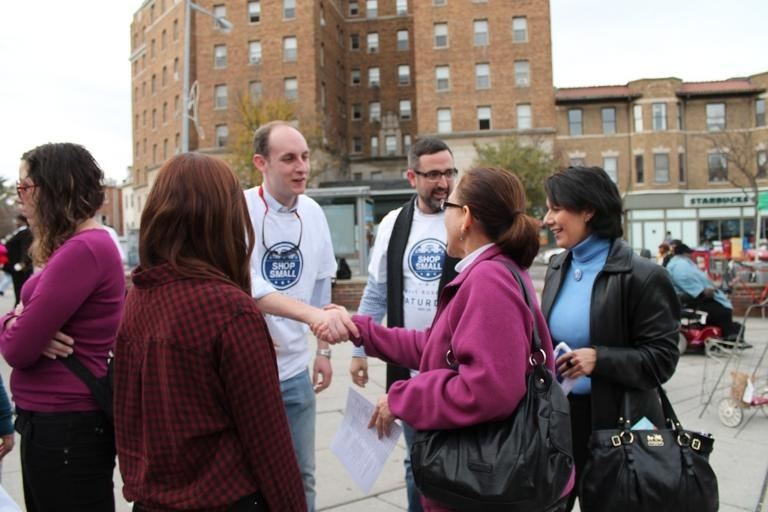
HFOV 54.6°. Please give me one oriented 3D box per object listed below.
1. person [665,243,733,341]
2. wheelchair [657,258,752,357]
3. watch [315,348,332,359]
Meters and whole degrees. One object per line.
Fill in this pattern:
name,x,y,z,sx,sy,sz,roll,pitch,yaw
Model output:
person,4.858,0.564,11.320,0.942,1.479,0.741,1,9,29
wheelchair,4.890,0.576,11.308,1.125,1.457,0.688,3,20,21
watch,-0.463,0.756,5.772,0.099,0.063,0.079,-3,7,-11
